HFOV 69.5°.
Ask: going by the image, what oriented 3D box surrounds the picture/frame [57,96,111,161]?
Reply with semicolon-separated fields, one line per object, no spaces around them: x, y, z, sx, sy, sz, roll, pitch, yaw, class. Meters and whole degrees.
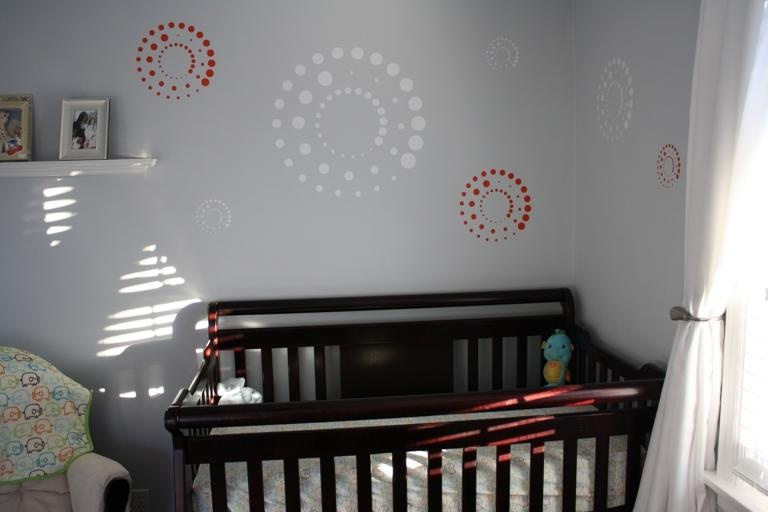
-1.575;-0.667;2.896;0.316;0.460;0.033;0;-5;-7;picture/frame
